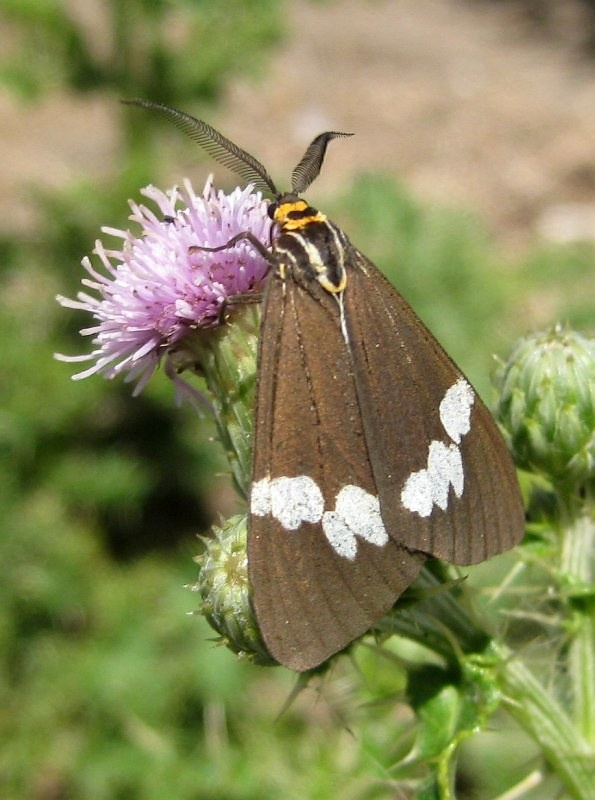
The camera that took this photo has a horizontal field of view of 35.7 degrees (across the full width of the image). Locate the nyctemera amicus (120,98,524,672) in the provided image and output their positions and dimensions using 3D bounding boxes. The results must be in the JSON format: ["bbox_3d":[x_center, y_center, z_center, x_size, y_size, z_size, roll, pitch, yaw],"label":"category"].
[{"bbox_3d":[0.147,0.036,1.989,0.551,0.663,0.943,-11,40,11],"label":"nyctemera amicus"}]

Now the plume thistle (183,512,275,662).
[{"bbox_3d":[-0.154,0.422,2.091,0.110,0.311,0.274,-4,62,-24],"label":"plume thistle"}]

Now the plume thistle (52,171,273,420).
[{"bbox_3d":[-0.328,-0.260,2.380,0.395,0.562,0.511,21,37,-6],"label":"plume thistle"}]
